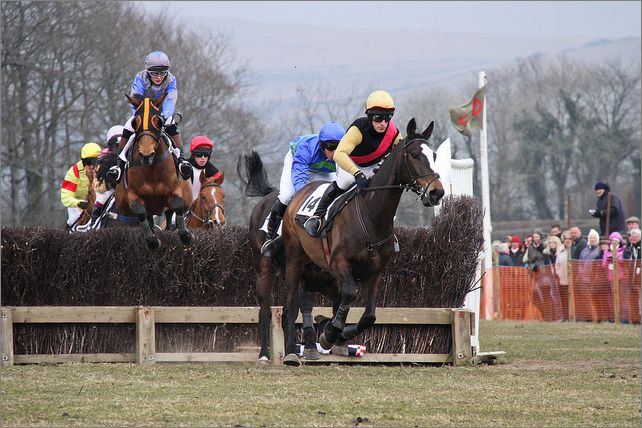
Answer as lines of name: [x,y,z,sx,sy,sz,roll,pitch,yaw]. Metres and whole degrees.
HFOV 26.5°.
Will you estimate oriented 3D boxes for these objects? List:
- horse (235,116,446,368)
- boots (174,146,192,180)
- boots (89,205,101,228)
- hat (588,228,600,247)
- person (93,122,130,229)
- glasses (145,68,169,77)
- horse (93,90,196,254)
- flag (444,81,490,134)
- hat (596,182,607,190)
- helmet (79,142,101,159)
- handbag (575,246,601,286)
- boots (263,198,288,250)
horse: [0.489,0.624,28.284,4.347,4.921,1.489,-6,-6,41]
boots: [-3.153,-1.100,30.560,0.232,0.858,0.484,-10,6,-20]
boots: [-5.196,0.012,31.351,0.174,0.629,0.211,23,-6,-3]
hat: [6.737,0.561,33.851,0.311,0.407,0.485,-3,-4,10]
person: [-4.738,-0.784,30.945,0.554,2.380,1.333,12,26,-18]
glasses: [-3.663,-3.142,30.433,0.460,0.153,0.202,-1,-4,-9]
horse: [-4.119,-0.816,30.314,1.275,2.618,4.055,-7,-36,-10]
flag: [3.432,-2.397,32.230,0.497,1.011,1.379,-1,-4,-18]
hat: [6.989,-0.723,34.164,0.230,0.162,0.164,0,0,-8]
helmet: [-5.586,-1.530,32.896,0.421,0.320,0.603,-2,4,-13]
handbag: [6.594,1.223,33.659,0.616,0.933,0.230,-4,-5,20]
boots: [-1.019,0.273,29.121,0.349,1.222,0.416,25,-15,-11]
